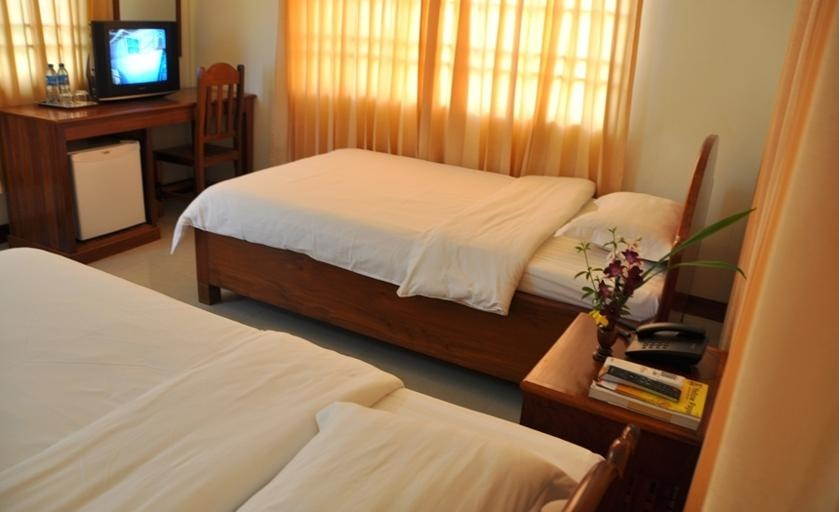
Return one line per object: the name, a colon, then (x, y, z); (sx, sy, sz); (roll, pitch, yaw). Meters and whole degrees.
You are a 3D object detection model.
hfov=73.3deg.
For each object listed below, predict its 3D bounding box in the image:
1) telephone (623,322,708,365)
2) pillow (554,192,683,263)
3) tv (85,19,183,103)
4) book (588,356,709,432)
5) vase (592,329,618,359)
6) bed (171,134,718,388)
telephone: (0.867, 0.275, 1.986); (0.211, 0.090, 0.161); (8, 38, 31)
pillow: (1.025, -0.168, 2.849); (0.474, 0.116, 0.448); (10, 36, 30)
tv: (-2.103, -1.421, 4.091); (0.321, 0.485, 0.619); (21, 27, 19)
book: (0.755, 0.448, 1.855); (0.288, 0.077, 0.210); (16, 31, 25)
vase: (0.674, 0.311, 2.036); (0.078, 0.119, 0.083); (10, 2, 19)
bed: (0.108, 0.103, 3.532); (2.534, 1.386, 1.364); (14, 33, 21)
